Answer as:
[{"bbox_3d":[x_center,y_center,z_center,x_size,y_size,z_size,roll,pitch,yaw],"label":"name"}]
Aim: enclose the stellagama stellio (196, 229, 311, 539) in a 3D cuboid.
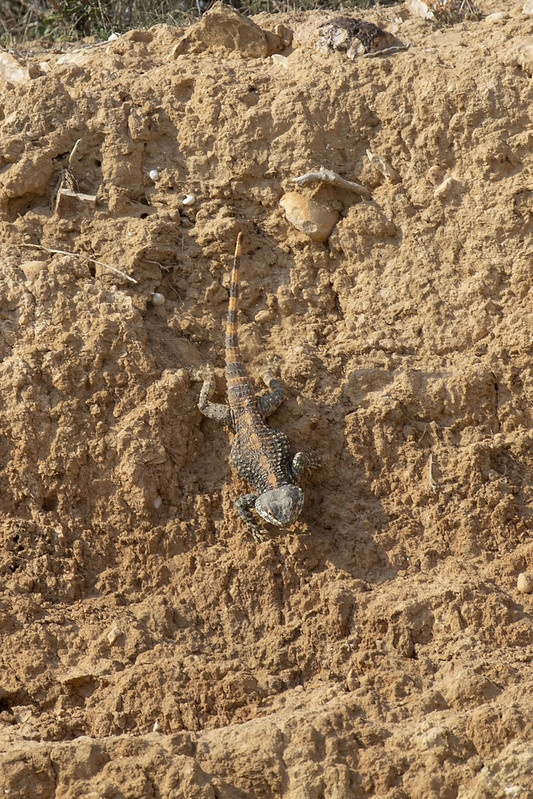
[{"bbox_3d":[-0.118,0.084,10.603,0.518,0.393,1.715,-8,72,-20],"label":"stellagama stellio"}]
